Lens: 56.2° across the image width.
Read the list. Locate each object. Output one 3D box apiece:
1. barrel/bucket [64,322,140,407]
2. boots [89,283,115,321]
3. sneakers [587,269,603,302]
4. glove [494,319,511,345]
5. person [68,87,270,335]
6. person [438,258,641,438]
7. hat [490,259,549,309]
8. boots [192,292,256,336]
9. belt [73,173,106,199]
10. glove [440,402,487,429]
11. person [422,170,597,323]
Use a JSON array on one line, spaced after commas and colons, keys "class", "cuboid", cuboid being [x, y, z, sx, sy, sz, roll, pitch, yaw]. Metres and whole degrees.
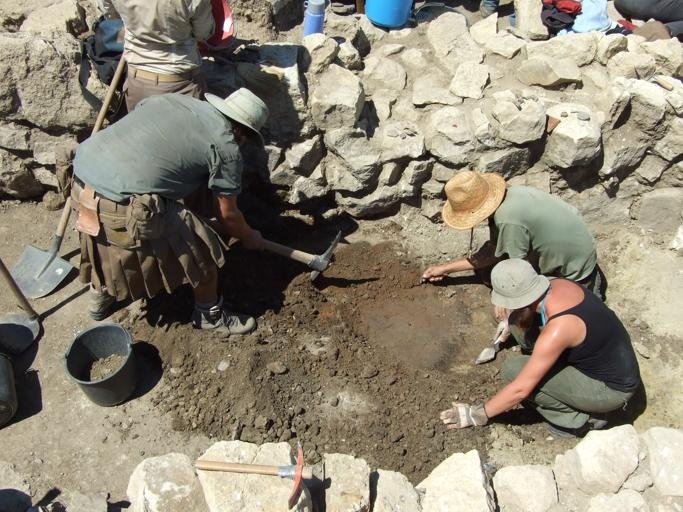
[{"class": "barrel/bucket", "cuboid": [-1.852, 0.866, 5.013, 0.514, 0.408, 0.516, 2, 51, -3]}, {"class": "boots", "cuboid": [-2.000, 0.398, 5.433, 0.222, 0.281, 0.169, -4, 11, -24]}, {"class": "sneakers", "cuboid": [2.064, 0.240, 5.248, 0.171, 0.081, 0.247, -3, 85, -30]}, {"class": "glove", "cuboid": [1.354, 0.648, 5.455, 0.079, 0.219, 0.134, 12, 32, -16]}, {"class": "person", "cuboid": [-1.385, -0.327, 5.056, 1.280, 1.483, 1.012, -30, 64, -35]}, {"class": "person", "cuboid": [1.564, 0.701, 4.911, 1.388, 1.186, 0.905, 4, 50, -1]}, {"class": "hat", "cuboid": [1.292, 0.219, 4.674, 0.416, 0.260, 0.342, 19, 52, 11]}, {"class": "boots", "cuboid": [-1.009, 0.471, 5.402, 0.576, 0.336, 0.243, 1, 54, -11]}, {"class": "belt", "cuboid": [-1.871, -0.523, 4.743, 0.248, 0.189, 0.095, 29, 89, 8]}, {"class": "glove", "cuboid": [0.949, 1.259, 5.006, 0.311, 0.117, 0.200, -11, 70, 20]}, {"class": "person", "cuboid": [1.413, -0.075, 5.280, 0.838, 1.102, 0.474, -27, 32, 21]}]
